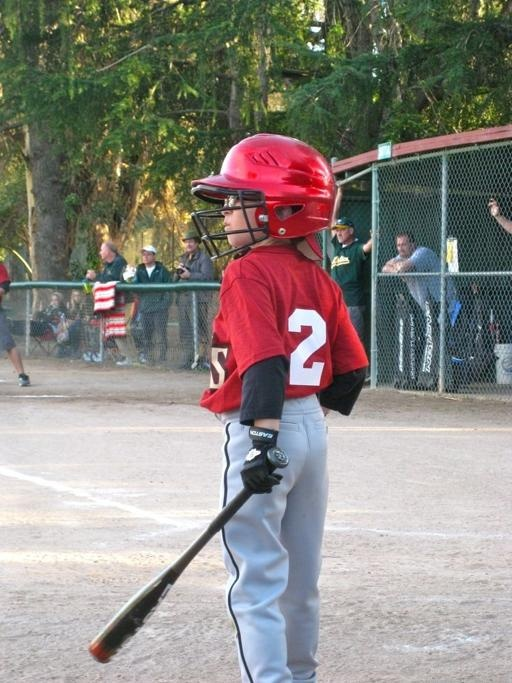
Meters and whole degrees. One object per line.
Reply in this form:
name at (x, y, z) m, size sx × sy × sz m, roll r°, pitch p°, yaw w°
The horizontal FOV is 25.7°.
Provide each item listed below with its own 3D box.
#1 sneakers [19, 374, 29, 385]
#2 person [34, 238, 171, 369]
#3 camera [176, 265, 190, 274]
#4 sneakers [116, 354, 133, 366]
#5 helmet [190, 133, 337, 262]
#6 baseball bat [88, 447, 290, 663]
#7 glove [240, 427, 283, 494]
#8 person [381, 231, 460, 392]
sneakers at (-2.451, 0.429, 11.818) m, size 0.063 × 0.076 × 0.181 m, roll 0°, pitch -4°, yaw -1°
person at (-1.789, -0.470, 14.667) m, size 0.897 × 1.640 × 1.532 m, roll -4°, pitch 7°, yaw -42°
camera at (-0.862, -0.844, 13.428) m, size 0.150 × 0.075 × 0.200 m, roll 0°, pitch -4°, yaw -6°
sneakers at (-1.754, 0.277, 14.887) m, size 0.132 × 0.057 × 0.164 m, roll 0°, pitch -27°, yaw -1°
helmet at (0.034, -0.446, 3.563) m, size 0.496 × 0.382 × 0.360 m, roll 2°, pitch 1°, yaw -2°
baseball bat at (-0.252, 0.788, 3.994) m, size 1.024 × 0.117 × 0.116 m, roll -41°, pitch 1°, yaw -11°
glove at (0.020, 0.326, 2.996) m, size 0.066 × 0.164 × 0.126 m, roll 5°, pitch -11°, yaw -30°
person at (1.716, -0.272, 11.165) m, size 0.748 × 1.565 × 0.907 m, roll 5°, pitch 7°, yaw 37°
